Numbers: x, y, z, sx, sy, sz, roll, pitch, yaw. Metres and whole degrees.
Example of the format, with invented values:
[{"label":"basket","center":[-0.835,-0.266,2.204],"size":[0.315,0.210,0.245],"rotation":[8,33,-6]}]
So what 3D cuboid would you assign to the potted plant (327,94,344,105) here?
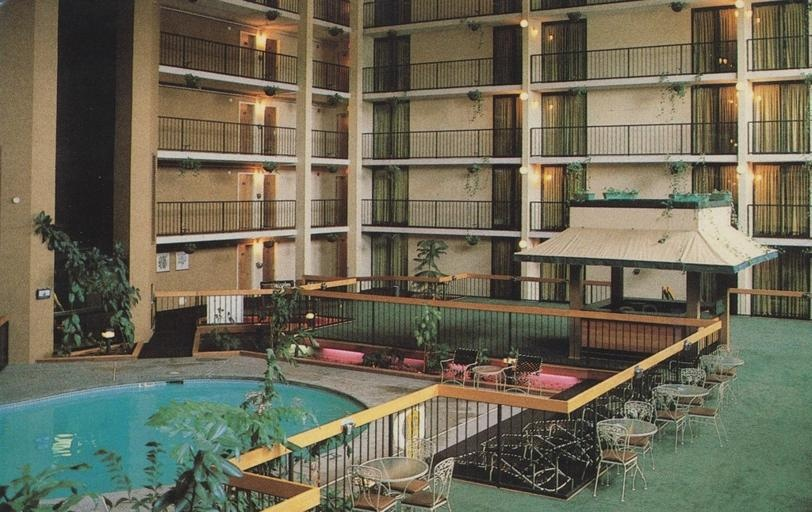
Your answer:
[{"label":"potted plant","center":[-2.981,-6.611,29.726],"size":[0.460,0.227,0.459],"rotation":[-3,1,-2]}]

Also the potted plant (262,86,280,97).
[{"label":"potted plant","center":[-5.355,-6.520,27.920],"size":[0.423,0.261,0.419],"rotation":[-1,0,-13]}]

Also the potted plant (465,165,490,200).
[{"label":"potted plant","center":[2.870,-3.151,29.652],"size":[1.124,1.343,1.101],"rotation":[-1,2,19]}]

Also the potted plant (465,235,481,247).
[{"label":"potted plant","center":[2.819,-0.632,29.806],"size":[0.650,0.500,1.263],"rotation":[-1,3,7]}]

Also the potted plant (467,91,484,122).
[{"label":"potted plant","center":[2.915,-6.246,29.460],"size":[0.621,1.083,1.332],"rotation":[-1,2,6]}]

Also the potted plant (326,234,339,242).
[{"label":"potted plant","center":[-3.182,-0.763,30.565],"size":[0.360,0.267,0.364],"rotation":[2,7,25]}]

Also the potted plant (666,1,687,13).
[{"label":"potted plant","center":[10.084,-9.226,26.147],"size":[0.372,0.204,0.366],"rotation":[-1,2,-37]}]

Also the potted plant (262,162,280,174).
[{"label":"potted plant","center":[-5.412,-3.485,27.891],"size":[0.450,0.301,0.437],"rotation":[-1,1,-43]}]

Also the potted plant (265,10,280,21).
[{"label":"potted plant","center":[-5.210,-9.293,27.323],"size":[0.347,0.236,0.353],"rotation":[0,2,39]}]
